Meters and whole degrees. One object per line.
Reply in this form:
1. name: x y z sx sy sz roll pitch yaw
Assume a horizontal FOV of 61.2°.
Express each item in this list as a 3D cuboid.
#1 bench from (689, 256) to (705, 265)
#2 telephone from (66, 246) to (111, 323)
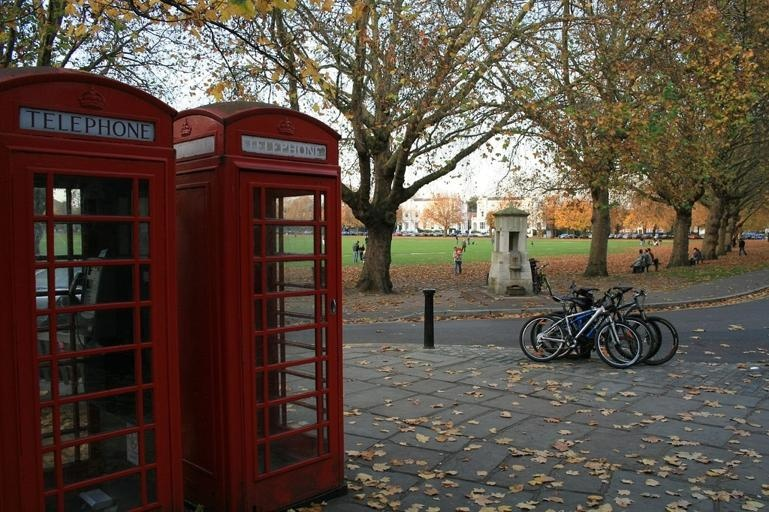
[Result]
1. bench: 18.746 0.277 39.068 0.818 0.285 0.830 0 0 35
2. telephone: -2.535 0.263 5.591 0.261 0.485 0.204 -2 -27 11
